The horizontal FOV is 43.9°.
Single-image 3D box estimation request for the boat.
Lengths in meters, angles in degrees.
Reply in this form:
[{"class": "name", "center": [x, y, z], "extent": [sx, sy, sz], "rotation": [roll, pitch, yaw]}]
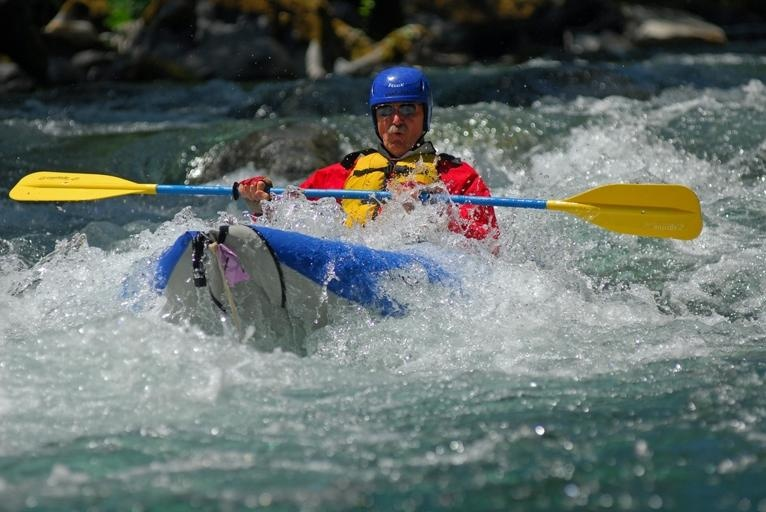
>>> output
[{"class": "boat", "center": [-0.614, 0.227, 6.013], "extent": [1.462, 0.835, 0.401], "rotation": [14, 82, -37]}]
